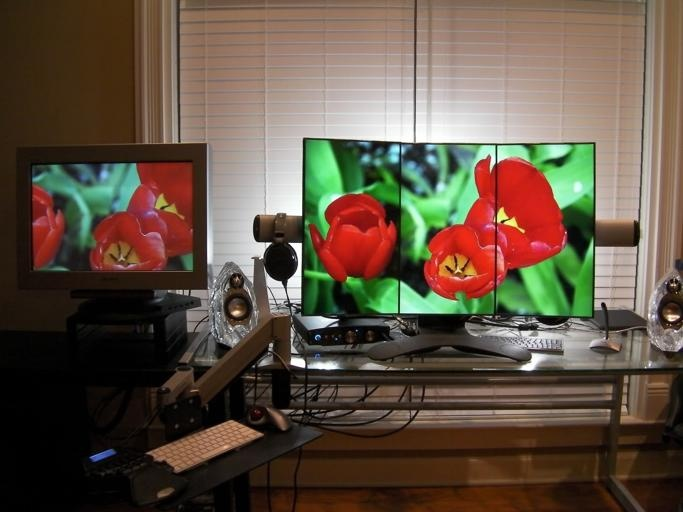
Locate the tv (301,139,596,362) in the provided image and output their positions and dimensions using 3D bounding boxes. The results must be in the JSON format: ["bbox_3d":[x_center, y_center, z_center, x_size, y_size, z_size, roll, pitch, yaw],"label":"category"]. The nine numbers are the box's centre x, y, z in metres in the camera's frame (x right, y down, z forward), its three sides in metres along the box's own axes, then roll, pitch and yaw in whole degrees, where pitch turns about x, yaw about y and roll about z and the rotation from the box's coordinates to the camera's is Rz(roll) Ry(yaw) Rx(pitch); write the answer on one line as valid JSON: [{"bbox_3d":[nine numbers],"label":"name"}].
[{"bbox_3d":[0.432,-0.045,2.616,1.006,0.710,0.249,0,1,2],"label":"tv"}]

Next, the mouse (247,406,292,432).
[{"bbox_3d":[-0.270,0.610,2.343,0.136,0.046,0.086,3,8,12],"label":"mouse"}]

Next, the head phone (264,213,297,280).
[{"bbox_3d":[-0.281,-0.026,2.905,0.153,0.340,0.066,-3,10,-8],"label":"head phone"}]
